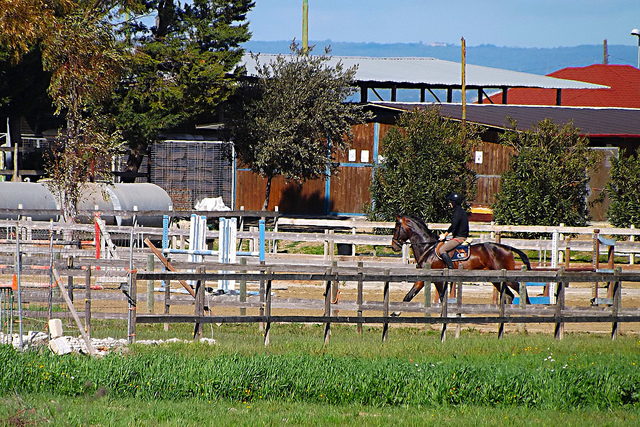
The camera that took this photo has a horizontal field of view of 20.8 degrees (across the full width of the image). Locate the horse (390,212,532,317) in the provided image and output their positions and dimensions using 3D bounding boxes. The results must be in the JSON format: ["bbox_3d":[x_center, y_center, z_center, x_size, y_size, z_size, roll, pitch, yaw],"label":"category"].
[{"bbox_3d":[6.339,2.422,82.660,6.020,4.793,3.627,-1,2,6],"label":"horse"}]

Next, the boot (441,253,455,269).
[{"bbox_3d":[6.047,2.260,82.132,0.625,0.711,0.472,1,2,42],"label":"boot"}]
